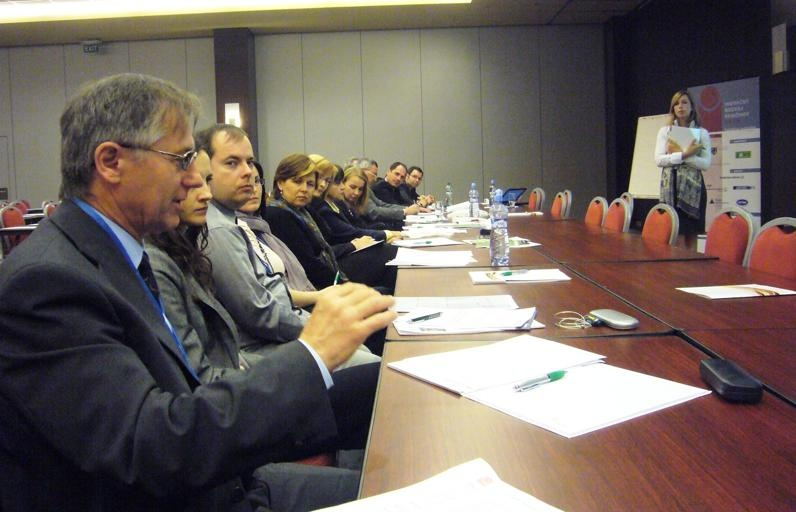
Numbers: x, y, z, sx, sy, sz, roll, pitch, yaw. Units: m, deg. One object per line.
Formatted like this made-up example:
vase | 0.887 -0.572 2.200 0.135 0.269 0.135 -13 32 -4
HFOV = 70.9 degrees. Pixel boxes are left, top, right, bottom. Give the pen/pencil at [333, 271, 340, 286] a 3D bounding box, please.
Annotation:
pen/pencil | -0.359 0.129 3.265 0.010 0.093 0.010 24 0 -8
